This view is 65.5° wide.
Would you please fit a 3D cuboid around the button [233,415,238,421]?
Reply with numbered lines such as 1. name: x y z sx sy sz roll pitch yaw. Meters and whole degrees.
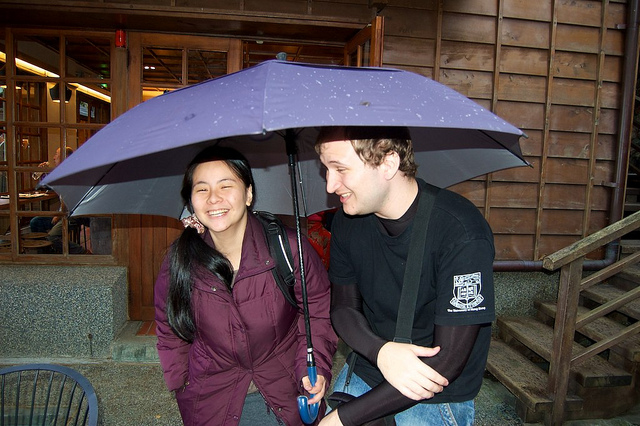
1. button: -0.656 1.591 3.870 0.028 0.035 0.012 -2 -4 -1

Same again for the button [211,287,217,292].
1. button: -0.838 0.606 3.940 0.032 0.033 0.008 -3 -4 8

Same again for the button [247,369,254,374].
1. button: -0.549 1.251 3.942 0.030 0.030 0.030 26 -9 29
